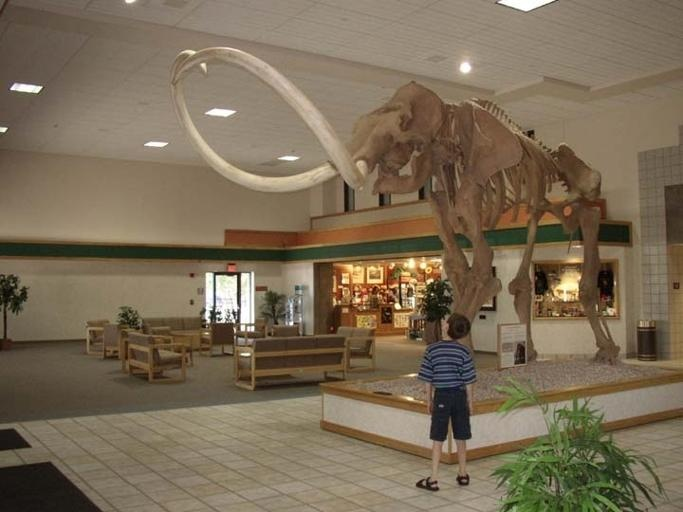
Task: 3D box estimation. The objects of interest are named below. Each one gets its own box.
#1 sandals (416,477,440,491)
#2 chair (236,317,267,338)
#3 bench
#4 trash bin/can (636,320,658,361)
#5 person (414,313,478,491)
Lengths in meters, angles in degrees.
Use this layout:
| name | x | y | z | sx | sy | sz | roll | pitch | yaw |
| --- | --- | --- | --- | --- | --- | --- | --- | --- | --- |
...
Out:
| name | x | y | z | sx | sy | sz | roll | pitch | yaw |
| --- | --- | --- | --- | --- | --- | --- | --- | --- | --- |
| sandals | 0.799 | 2.120 | 4.342 | 0.213 | 0.107 | 0.146 | -1 | -3 | 6 |
| chair | -3.188 | 2.560 | 16.420 | 0.694 | 0.687 | 1.344 | 2 | -4 | -22 |
| bench | -1.100 | 2.184 | 9.815 | 2.101 | 1.073 | 1.663 | 2 | -4 | -39 |
| trash bin/can | 7.660 | 2.122 | 11.666 | 0.476 | 0.992 | 0.232 | -1 | -3 | 3 |
| person | 0.989 | 1.374 | 4.490 | 0.563 | 1.611 | 0.565 | -1 | -3 | 9 |
